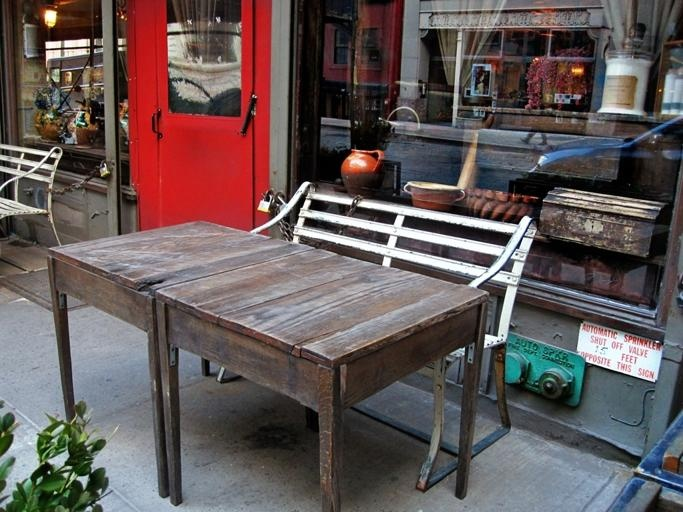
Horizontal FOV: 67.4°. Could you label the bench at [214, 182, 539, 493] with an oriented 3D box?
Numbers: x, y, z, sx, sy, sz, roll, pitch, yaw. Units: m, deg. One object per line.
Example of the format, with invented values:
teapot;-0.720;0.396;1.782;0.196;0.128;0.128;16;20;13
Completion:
bench;0.083;0.295;2.963;0.729;1.120;1.767;-12;19;-38
